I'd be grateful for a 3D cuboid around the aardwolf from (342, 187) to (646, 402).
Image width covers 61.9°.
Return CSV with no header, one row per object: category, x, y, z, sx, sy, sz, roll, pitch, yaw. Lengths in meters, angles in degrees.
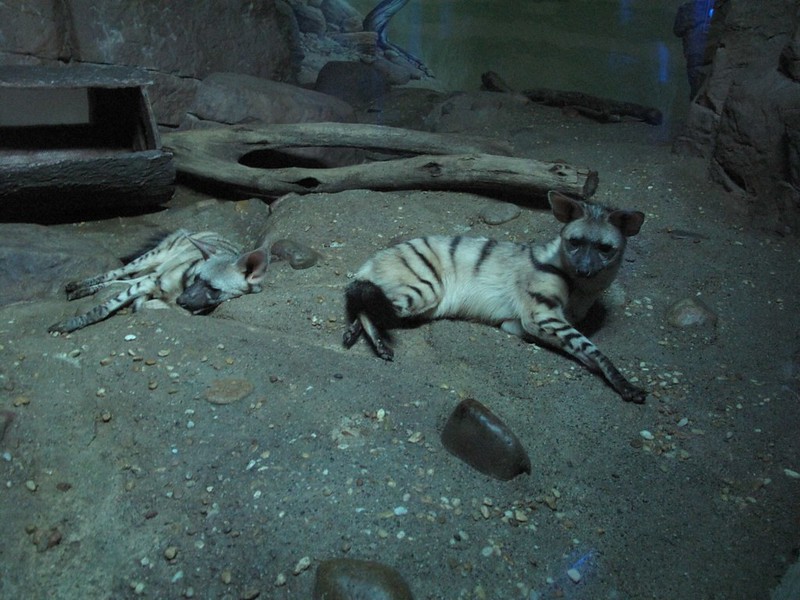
aardwolf,0.786,-0.118,5.233,2.329,1.425,1.186,6,13,16
